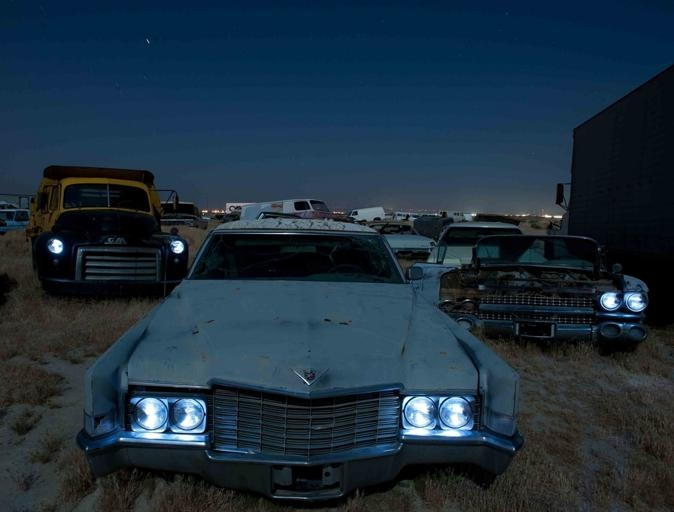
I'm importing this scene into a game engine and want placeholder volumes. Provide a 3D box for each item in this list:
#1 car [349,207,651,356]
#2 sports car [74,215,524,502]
[{"bbox_3d":[2.660,0.419,7.555,2.405,1.161,2.869,2,3,4],"label":"car"},{"bbox_3d":[-0.548,0.375,5.404,3.079,1.352,4.751,1,16,-10],"label":"sports car"}]
